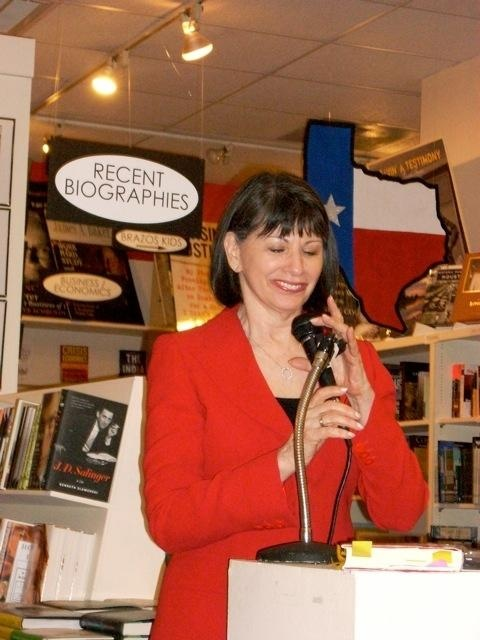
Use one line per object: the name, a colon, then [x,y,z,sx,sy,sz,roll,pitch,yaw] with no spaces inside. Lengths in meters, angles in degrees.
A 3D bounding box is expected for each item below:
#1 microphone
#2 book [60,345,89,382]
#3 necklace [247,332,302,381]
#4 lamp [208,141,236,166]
microphone: [0.119,0.101,0.900,0.087,0.240,0.066,11,-35,-14]
book: [-1.857,0.474,6.226,0.405,0.519,0.072,-2,7,-22]
necklace: [0.067,0.076,1.127,0.077,0.099,0.027,3,-46,-41]
lamp: [-0.211,-1.816,6.245,0.168,0.158,0.297,2,1,-3]
